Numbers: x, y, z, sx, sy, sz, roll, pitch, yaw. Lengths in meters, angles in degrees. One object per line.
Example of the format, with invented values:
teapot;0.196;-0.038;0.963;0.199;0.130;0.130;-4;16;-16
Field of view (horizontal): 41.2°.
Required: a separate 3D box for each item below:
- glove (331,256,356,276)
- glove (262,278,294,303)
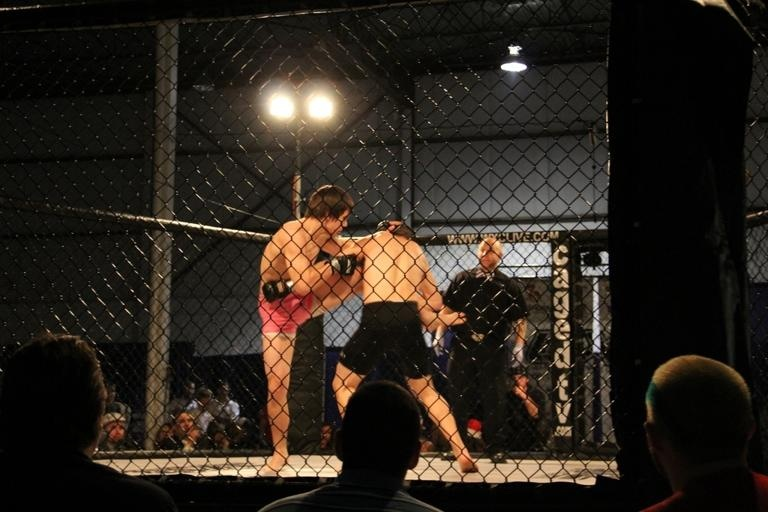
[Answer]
glove;-0.282;0.065;7.115;0.187;0.128;0.120;1;-16;-6
glove;-0.742;0.241;7.173;0.184;0.090;0.132;-11;8;-24
